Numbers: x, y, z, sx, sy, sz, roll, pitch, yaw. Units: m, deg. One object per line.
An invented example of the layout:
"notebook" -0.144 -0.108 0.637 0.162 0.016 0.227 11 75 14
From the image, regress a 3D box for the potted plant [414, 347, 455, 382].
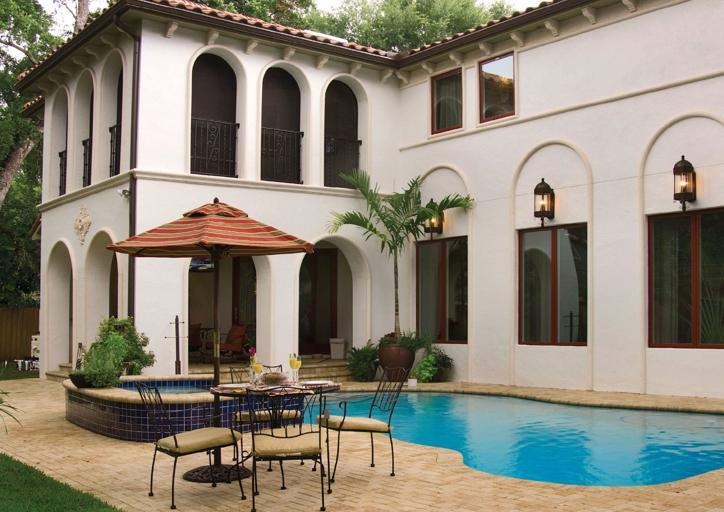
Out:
"potted plant" 1.838 2.893 18.923 0.914 0.877 0.926 3 -8 -26

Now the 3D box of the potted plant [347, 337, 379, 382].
"potted plant" 0.042 2.883 19.617 0.969 1.010 0.992 1 -7 -6

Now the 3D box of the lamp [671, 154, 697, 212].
"lamp" 6.840 -1.543 15.131 0.466 1.177 0.369 4 6 38

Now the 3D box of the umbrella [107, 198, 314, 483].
"umbrella" -2.300 1.312 12.633 3.797 4.369 3.946 -2 -3 24

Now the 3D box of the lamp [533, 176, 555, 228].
"lamp" 4.392 -1.289 17.200 0.494 1.166 0.460 2 5 15

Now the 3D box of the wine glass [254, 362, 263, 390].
"wine glass" -1.482 1.699 10.253 0.127 0.314 0.207 3 5 23

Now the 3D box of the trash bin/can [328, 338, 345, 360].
"trash bin/can" -0.695 2.764 21.260 0.563 0.620 0.520 0 -2 10
